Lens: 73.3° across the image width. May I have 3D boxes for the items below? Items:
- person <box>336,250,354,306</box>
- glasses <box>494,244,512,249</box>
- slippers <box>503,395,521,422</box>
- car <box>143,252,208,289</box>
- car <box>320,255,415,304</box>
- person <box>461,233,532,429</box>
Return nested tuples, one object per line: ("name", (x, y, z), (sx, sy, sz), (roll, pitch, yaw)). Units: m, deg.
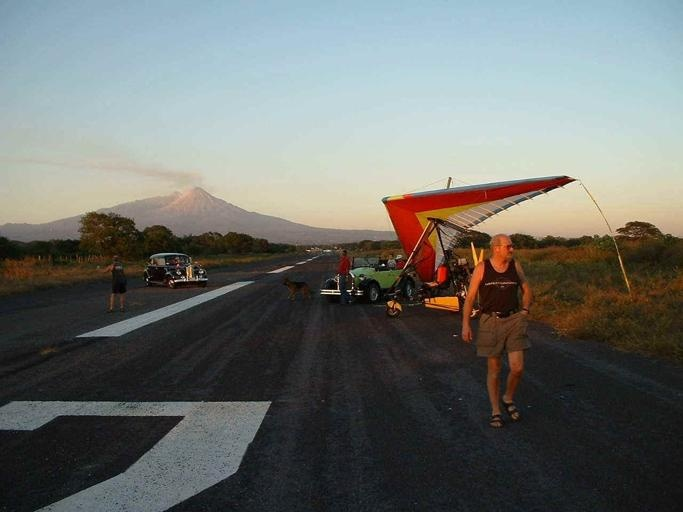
("person", (0.114, 0.766, 16.636), (0.499, 2.003, 1.253), (-1, 4, 1))
("glasses", (2.097, -0.112, 5.883), (0.180, 0.054, 0.061), (0, 4, 15))
("slippers", (2.257, 1.998, 6.070), (0.149, 0.355, 0.111), (-11, -25, -5))
("car", (-9.052, 0.782, 24.946), (1.883, 1.824, 3.773), (-5, 5, -41))
("car", (1.009, 0.909, 17.556), (3.260, 1.200, 1.750), (5, -8, -42))
("person", (2.012, 0.915, 5.905), (0.826, 2.374, 0.583), (0, 5, 16))
